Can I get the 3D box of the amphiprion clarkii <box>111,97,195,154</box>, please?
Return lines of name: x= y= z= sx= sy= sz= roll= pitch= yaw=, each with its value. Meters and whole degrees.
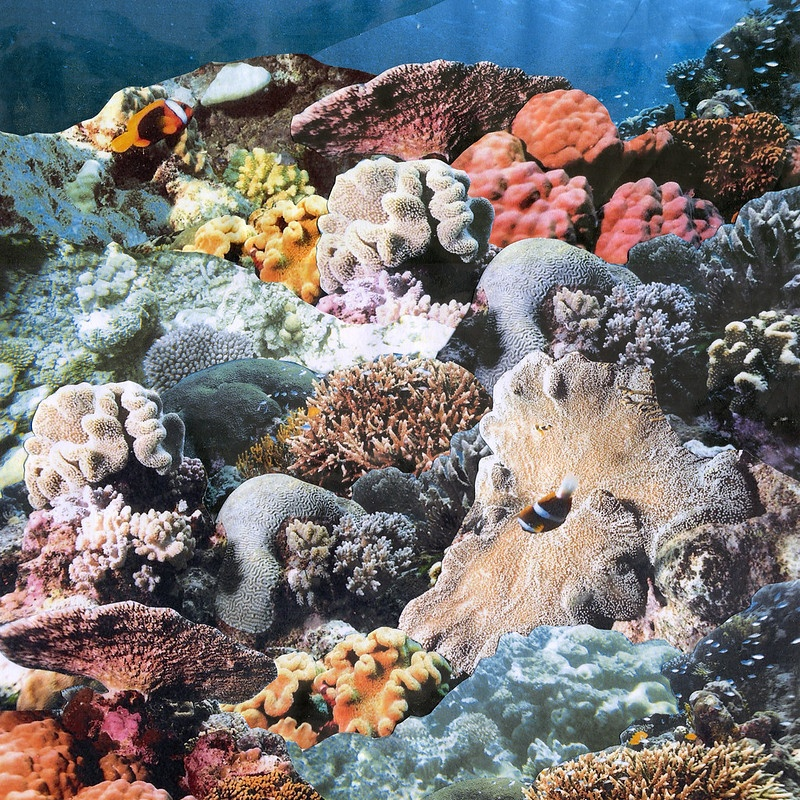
amphiprion clarkii: x=-0.954 y=-1.061 z=3.853 sx=0.346 sy=0.109 sz=0.187 roll=-24 pitch=80 yaw=-17
